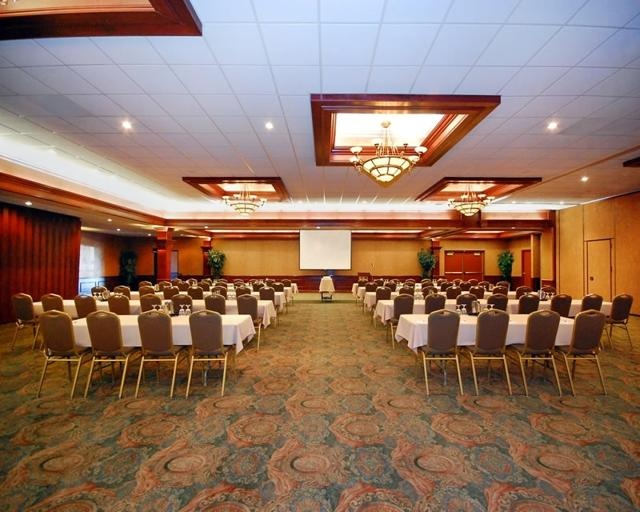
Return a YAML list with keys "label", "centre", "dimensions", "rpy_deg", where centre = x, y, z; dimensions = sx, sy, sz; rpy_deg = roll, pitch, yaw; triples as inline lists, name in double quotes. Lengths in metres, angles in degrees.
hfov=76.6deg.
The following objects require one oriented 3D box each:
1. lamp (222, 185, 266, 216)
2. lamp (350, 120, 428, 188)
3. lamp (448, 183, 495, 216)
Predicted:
- label: "lamp"
  centre: [-2.097, -1.389, 10.585]
  dimensions: [1.147, 0.691, 1.084]
  rpy_deg: [4, 4, 30]
- label: "lamp"
  centre: [1.177, -1.757, 7.262]
  dimensions: [1.408, 0.903, 1.220]
  rpy_deg: [-1, 0, -2]
- label: "lamp"
  centre: [3.981, -1.543, 10.562]
  dimensions: [1.223, 0.761, 1.033]
  rpy_deg: [0, -3, -13]
